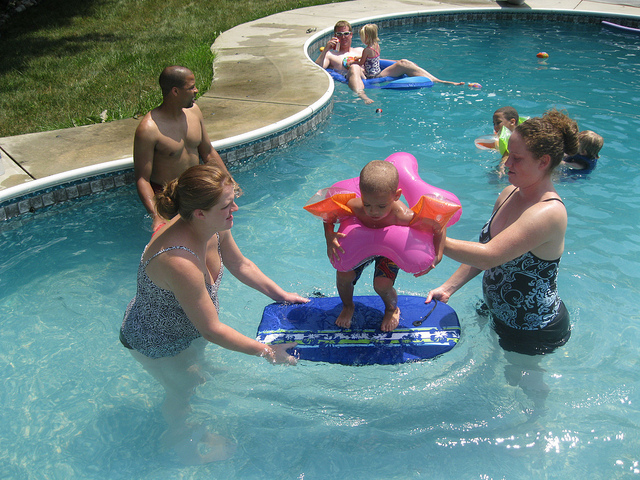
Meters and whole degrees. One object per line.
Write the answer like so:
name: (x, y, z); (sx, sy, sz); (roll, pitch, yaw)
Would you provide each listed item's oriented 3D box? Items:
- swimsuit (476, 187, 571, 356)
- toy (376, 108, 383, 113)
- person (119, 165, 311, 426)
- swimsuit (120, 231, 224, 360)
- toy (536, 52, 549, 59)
swimsuit: (1.665, 0.313, 4.753); (0.878, 1.459, 0.852); (-4, 43, 11)
toy: (0.981, -2.127, 9.552); (0.108, 0.039, 0.103); (-6, 38, 0)
person: (-0.962, 0.559, 5.109); (1.526, 2.389, 0.973); (4, 51, -9)
swimsuit: (-1.207, 0.423, 5.102); (0.926, 1.282, 0.952); (5, 47, -24)
toy: (4.579, -3.786, 11.911); (0.175, 0.114, 0.201); (4, 5, 14)
